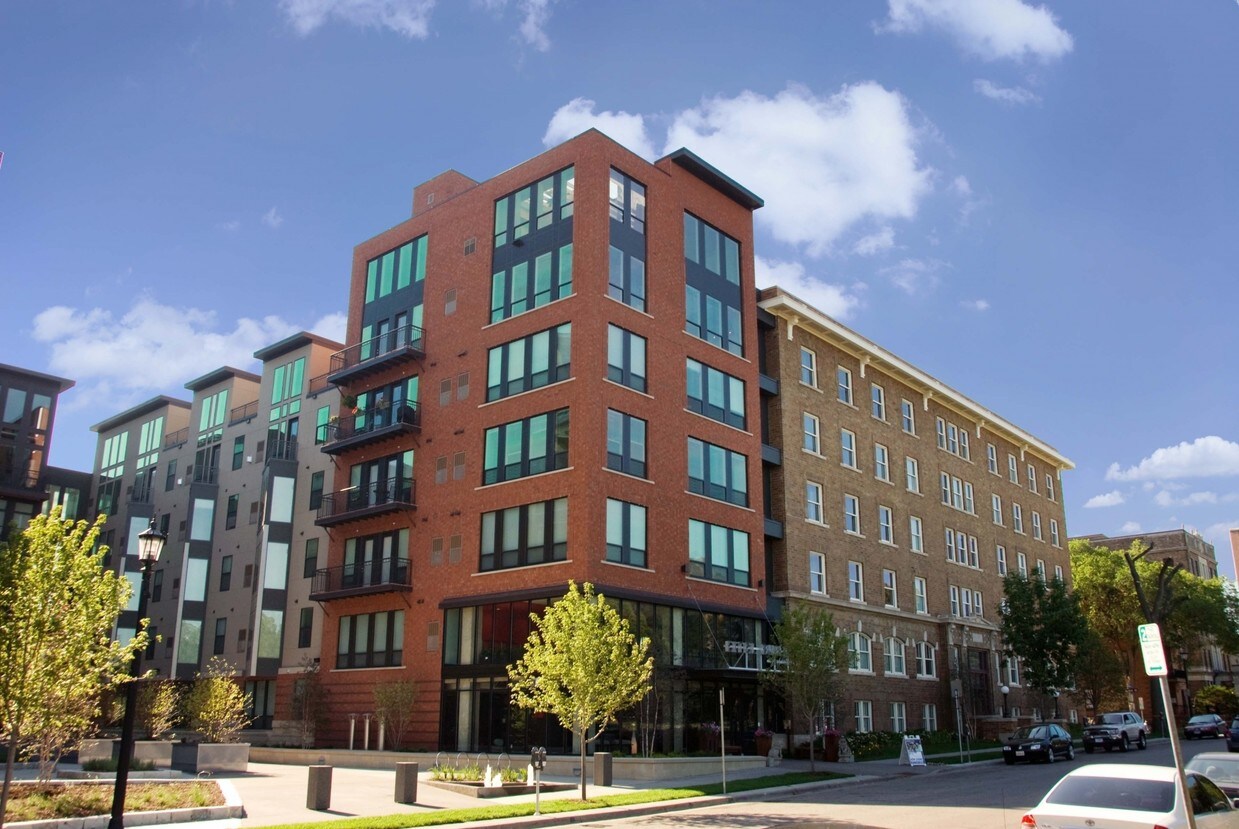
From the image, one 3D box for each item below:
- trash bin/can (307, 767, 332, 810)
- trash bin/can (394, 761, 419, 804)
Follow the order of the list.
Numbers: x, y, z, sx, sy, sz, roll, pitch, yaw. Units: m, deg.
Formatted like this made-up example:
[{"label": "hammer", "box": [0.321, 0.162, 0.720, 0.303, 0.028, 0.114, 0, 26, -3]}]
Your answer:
[{"label": "trash bin/can", "box": [-9.614, 11.986, 29.236, 0.674, 1.356, 0.711, 7, -27, -23]}, {"label": "trash bin/can", "box": [-7.214, 12.495, 30.903, 0.713, 1.291, 0.784, 4, -26, -16]}]
